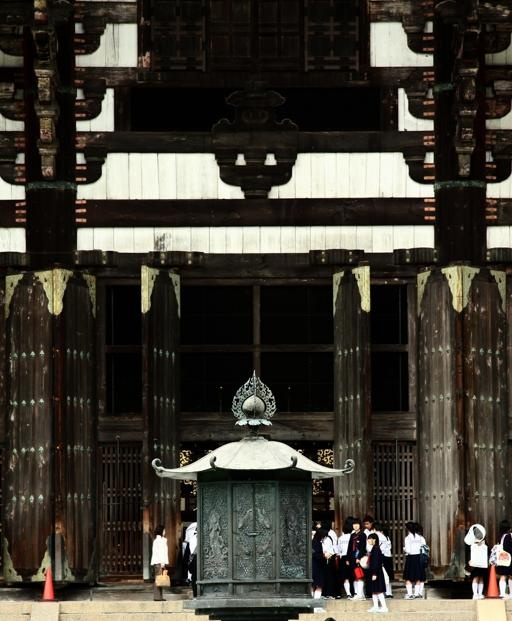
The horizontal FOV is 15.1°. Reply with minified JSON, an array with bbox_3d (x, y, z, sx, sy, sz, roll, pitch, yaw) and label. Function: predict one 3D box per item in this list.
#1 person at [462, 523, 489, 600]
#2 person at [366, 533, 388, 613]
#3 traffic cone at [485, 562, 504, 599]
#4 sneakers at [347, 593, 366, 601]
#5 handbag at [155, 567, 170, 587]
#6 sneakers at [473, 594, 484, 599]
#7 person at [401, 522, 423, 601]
[{"bbox_3d":[3.250,3.661,28.412,0.353,1.092,1.004,-3,-9,6],"label":"person"},{"bbox_3d":[1.684,3.672,27.253,0.251,1.095,0.430,-2,-8,3],"label":"person"},{"bbox_3d":[3.399,3.840,27.451,0.306,0.591,0.356,-2,-4,21],"label":"traffic cone"},{"bbox_3d":[1.464,4.125,27.986,0.201,0.123,0.087,2,-4,40],"label":"sneakers"},{"bbox_3d":[-1.380,3.850,28.046,0.250,0.373,0.103,12,-31,-23],"label":"handbag"},{"bbox_3d":[3.198,4.098,27.853,0.104,0.062,0.171,1,-6,6],"label":"sneakers"},{"bbox_3d":[2.318,3.653,28.436,0.333,1.118,0.504,-3,-8,5],"label":"person"}]
